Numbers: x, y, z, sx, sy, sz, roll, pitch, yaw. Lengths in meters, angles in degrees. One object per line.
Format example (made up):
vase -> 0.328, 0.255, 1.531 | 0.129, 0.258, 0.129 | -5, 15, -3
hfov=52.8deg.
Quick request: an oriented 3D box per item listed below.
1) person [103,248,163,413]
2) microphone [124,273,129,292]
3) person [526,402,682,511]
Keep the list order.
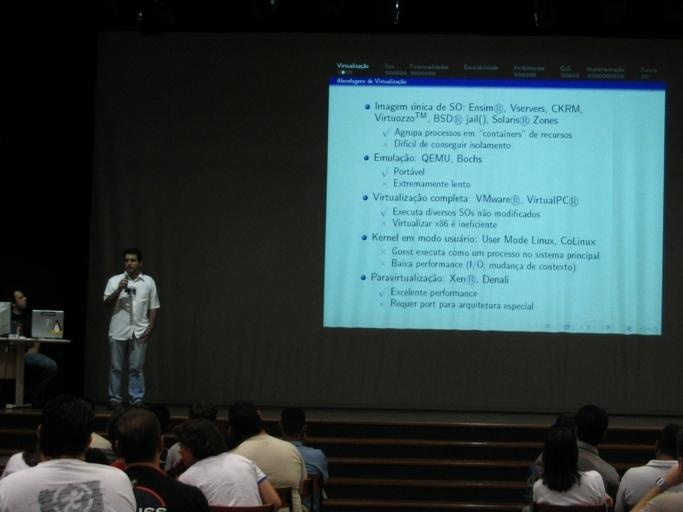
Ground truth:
person -> -2.124, 0.748, 6.870 | 0.504, 1.590, 1.114 | 2, -4, -18
microphone -> -2.050, 0.259, 6.538 | 0.039, 0.183, 0.270 | 2, -4, -18
person -> 1.560, 1.224, 4.170 | 0.818, 0.546, 0.715 | 0, -4, 15
